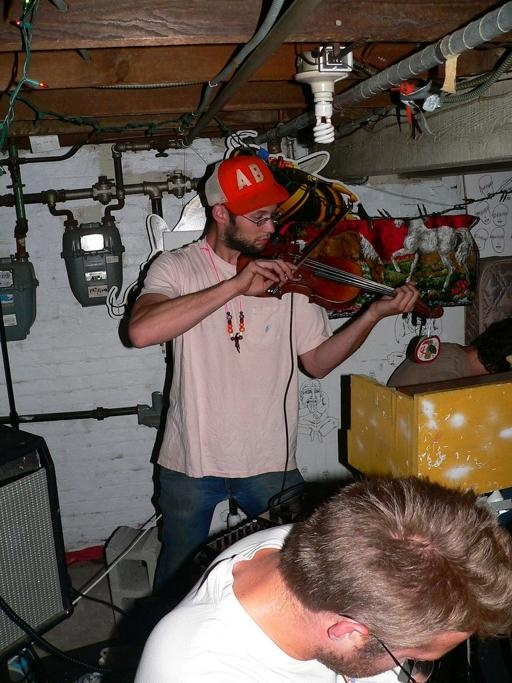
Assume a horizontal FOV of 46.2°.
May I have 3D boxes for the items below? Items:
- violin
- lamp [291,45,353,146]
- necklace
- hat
[{"bbox_3d":[0.302,-0.180,2.471,0.917,0.294,0.144,15,-34,-9],"label":"violin"},{"bbox_3d":[0.202,-0.732,1.786,0.165,0.258,0.328,-3,12,4],"label":"lamp"},{"bbox_3d":[-0.112,-0.163,2.171,0.116,0.416,0.034,-19,-7,-18],"label":"necklace"},{"bbox_3d":[-0.056,-0.565,2.182,0.228,0.144,0.304,-23,28,-28],"label":"hat"}]
